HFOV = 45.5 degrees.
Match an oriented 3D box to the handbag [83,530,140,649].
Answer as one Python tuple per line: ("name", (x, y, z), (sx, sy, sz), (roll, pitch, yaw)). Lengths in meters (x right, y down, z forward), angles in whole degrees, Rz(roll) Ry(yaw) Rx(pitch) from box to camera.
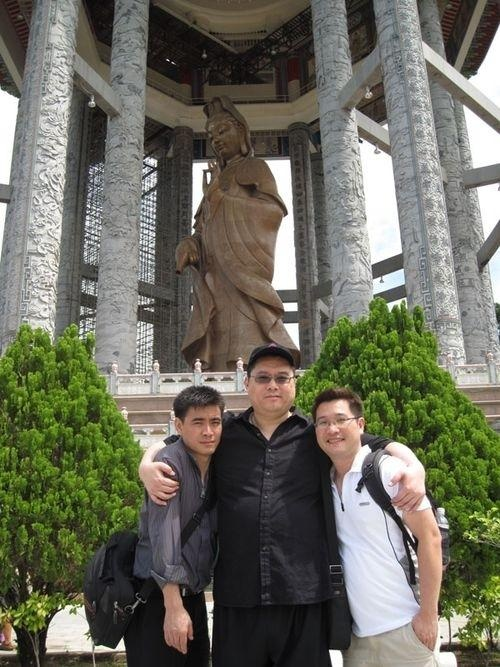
("handbag", (-0.536, 0.999, 2.297), (0.210, 0.444, 0.305), (-1, -15, -12))

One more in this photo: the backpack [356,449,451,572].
("backpack", (0.535, 0.624, 2.105), (0.292, 0.446, 0.211), (-8, -15, 14))

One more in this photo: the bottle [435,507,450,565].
("bottle", (0.683, 0.718, 2.101), (0.035, 0.199, 0.293), (-8, -15, 15))
